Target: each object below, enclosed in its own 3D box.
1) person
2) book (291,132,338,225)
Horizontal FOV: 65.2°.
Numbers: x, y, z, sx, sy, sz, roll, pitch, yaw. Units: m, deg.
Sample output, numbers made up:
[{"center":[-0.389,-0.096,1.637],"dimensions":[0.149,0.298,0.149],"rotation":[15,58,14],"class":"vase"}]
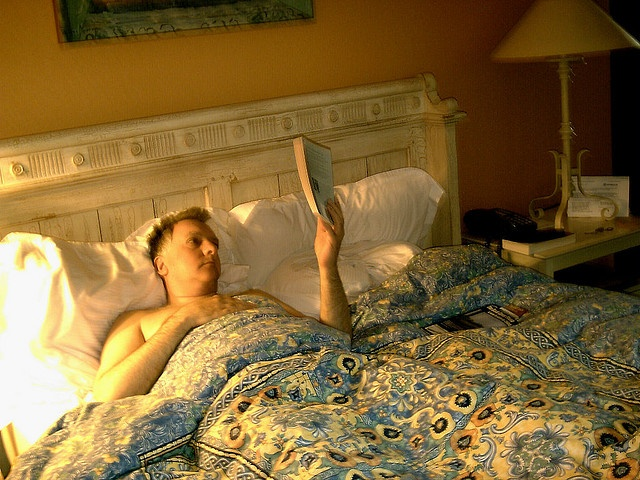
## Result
[{"center":[-0.519,0.230,1.752],"dimensions":[0.681,0.330,0.714],"rotation":[-6,21,-24],"class":"person"},{"center":[-0.013,-0.200,1.686],"dimensions":[0.096,0.298,0.337],"rotation":[-6,7,15],"class":"book"}]
